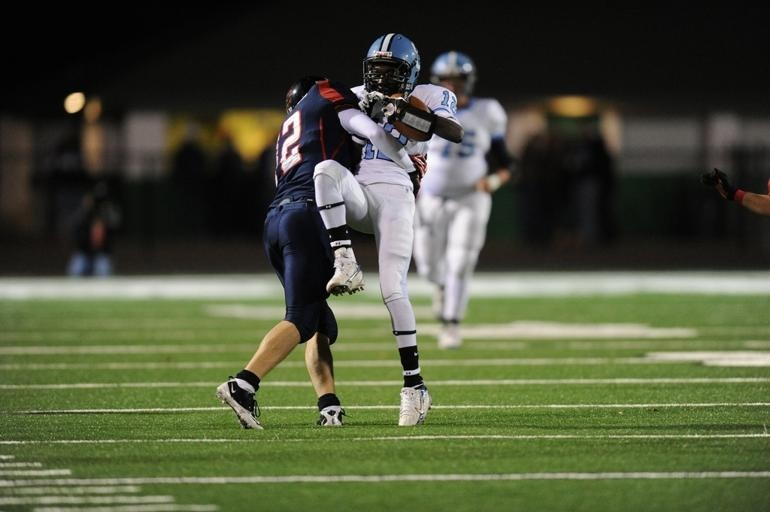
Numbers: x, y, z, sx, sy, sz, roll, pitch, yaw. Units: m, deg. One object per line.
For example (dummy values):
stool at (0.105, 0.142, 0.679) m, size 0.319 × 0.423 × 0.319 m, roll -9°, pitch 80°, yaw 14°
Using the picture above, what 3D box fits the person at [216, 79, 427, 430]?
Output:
person at (-0.597, -0.058, 8.583) m, size 1.229 × 2.736 × 0.695 m, roll 0°, pitch 2°, yaw -1°

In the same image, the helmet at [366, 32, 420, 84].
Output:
helmet at (0.075, -1.611, 8.910) m, size 0.430 × 0.404 × 0.562 m, roll 9°, pitch 24°, yaw 17°

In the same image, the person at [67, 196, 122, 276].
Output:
person at (-5.054, -0.387, 18.925) m, size 0.748 × 1.392 × 1.261 m, roll -1°, pitch 2°, yaw -14°

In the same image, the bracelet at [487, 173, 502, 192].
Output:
bracelet at (1.249, -0.838, 12.358) m, size 0.163 × 0.182 × 0.440 m, roll 0°, pitch 2°, yaw 7°

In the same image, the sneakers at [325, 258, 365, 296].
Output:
sneakers at (-0.301, 0.147, 8.379) m, size 0.289 × 0.267 × 0.236 m, roll -1°, pitch 2°, yaw -14°

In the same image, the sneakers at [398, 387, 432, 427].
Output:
sneakers at (0.248, 1.166, 8.588) m, size 0.147 × 0.407 × 0.202 m, roll -4°, pitch -41°, yaw 36°

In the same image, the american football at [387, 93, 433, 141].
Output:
american football at (0.218, -1.061, 8.518) m, size 0.377 × 0.207 × 0.285 m, roll 37°, pitch 25°, yaw 26°

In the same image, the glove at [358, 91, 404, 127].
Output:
glove at (-0.021, -1.168, 8.568) m, size 0.339 × 0.129 × 0.247 m, roll 26°, pitch -9°, yaw 27°

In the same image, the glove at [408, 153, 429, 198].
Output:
glove at (0.275, -0.661, 8.944) m, size 0.119 × 0.296 × 0.232 m, roll 17°, pitch 12°, yaw -2°

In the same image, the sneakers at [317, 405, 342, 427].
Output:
sneakers at (-0.418, 1.241, 8.548) m, size 0.177 × 0.141 × 0.356 m, roll 0°, pitch -1°, yaw -4°
